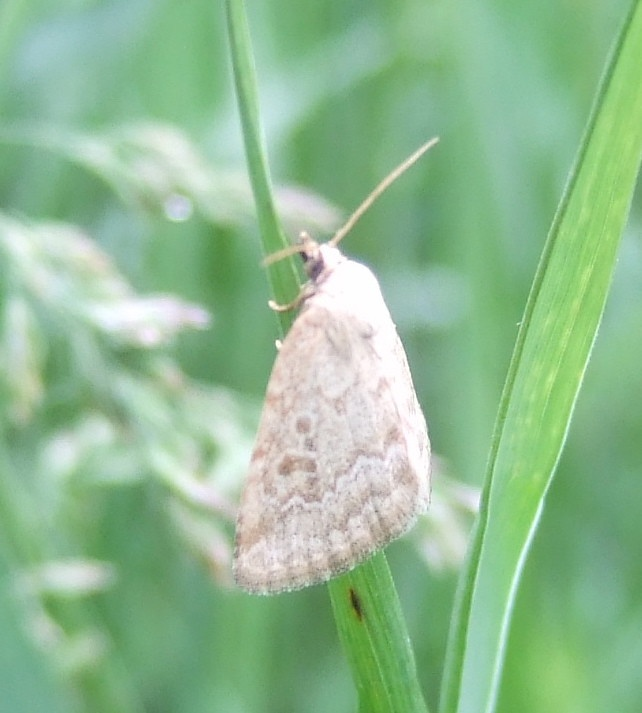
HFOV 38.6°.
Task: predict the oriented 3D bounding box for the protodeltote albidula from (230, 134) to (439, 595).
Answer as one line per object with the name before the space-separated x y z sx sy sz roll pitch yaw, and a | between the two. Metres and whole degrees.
protodeltote albidula | -0.003 0.004 0.921 0.227 0.450 0.103 -6 2 -36
